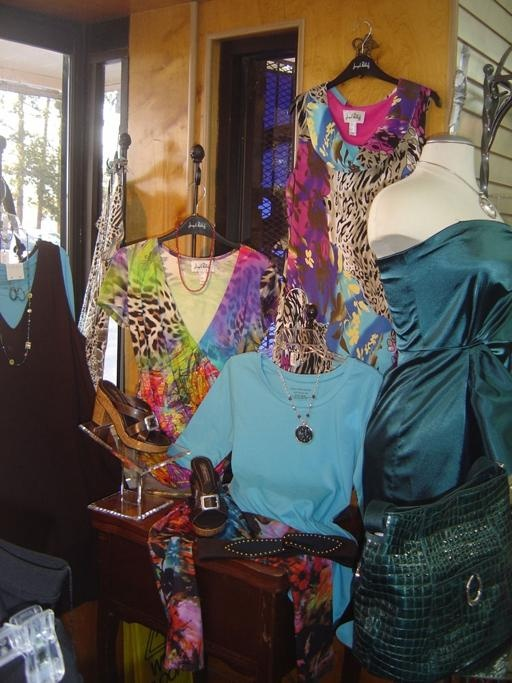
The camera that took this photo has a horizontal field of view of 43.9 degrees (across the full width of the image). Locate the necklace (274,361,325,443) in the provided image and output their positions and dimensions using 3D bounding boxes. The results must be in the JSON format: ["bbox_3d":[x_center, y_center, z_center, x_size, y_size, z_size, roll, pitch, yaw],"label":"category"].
[{"bbox_3d":[0.100,0.148,1.491,0.145,0.266,0.026,-2,-10,7],"label":"necklace"}]

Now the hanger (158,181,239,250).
[{"bbox_3d":[-0.164,-0.381,1.919,0.218,0.298,0.048,-2,10,-17],"label":"hanger"}]

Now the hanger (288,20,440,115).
[{"bbox_3d":[0.281,-0.679,1.574,0.269,0.205,0.024,3,10,13],"label":"hanger"}]

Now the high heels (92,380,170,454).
[{"bbox_3d":[-0.314,0.190,1.572,0.238,0.102,0.091,27,12,23],"label":"high heels"}]

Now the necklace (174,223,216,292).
[{"bbox_3d":[-0.167,-0.231,1.737,0.119,0.282,0.039,3,44,-6],"label":"necklace"}]

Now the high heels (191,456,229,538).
[{"bbox_3d":[-0.115,0.361,1.485,0.073,0.061,0.243,6,20,-10],"label":"high heels"}]
